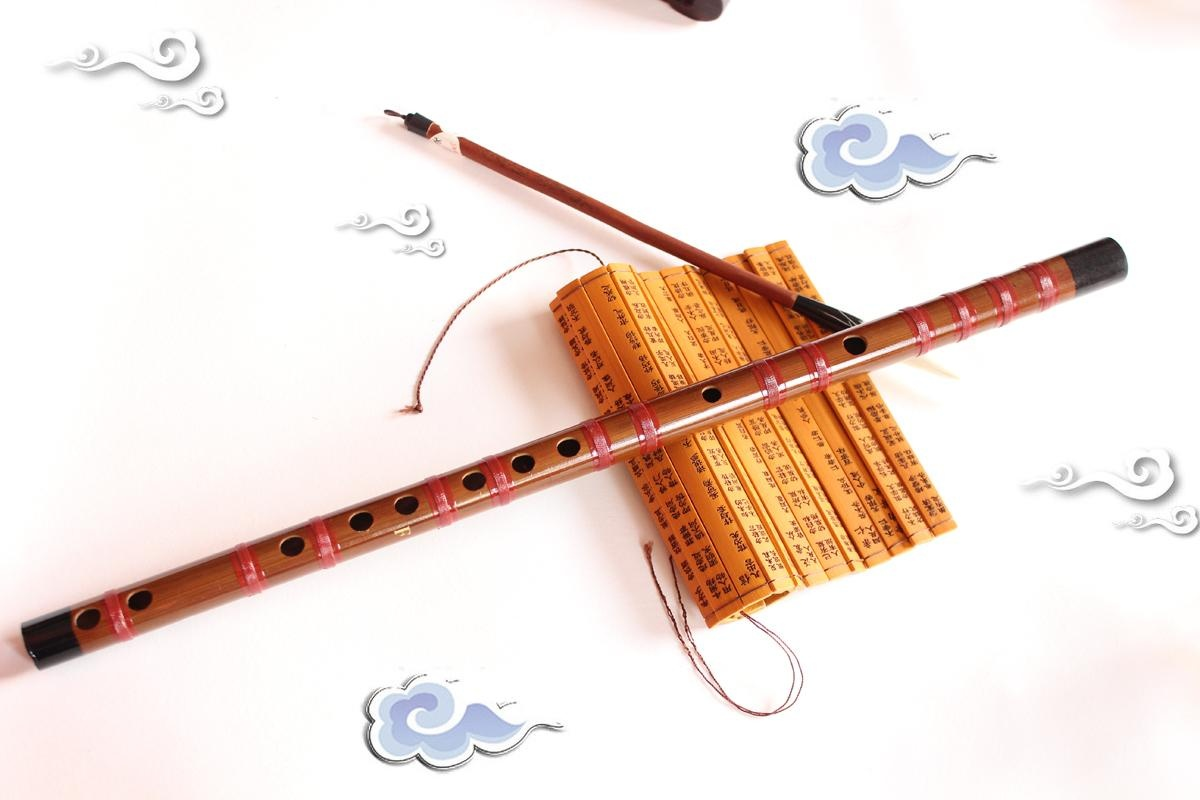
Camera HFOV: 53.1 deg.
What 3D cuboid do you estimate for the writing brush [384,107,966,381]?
[{"bbox_3d":[0.129,-0.335,2.748,1.643,0.076,0.109,21,-63,7],"label":"writing brush"}]
